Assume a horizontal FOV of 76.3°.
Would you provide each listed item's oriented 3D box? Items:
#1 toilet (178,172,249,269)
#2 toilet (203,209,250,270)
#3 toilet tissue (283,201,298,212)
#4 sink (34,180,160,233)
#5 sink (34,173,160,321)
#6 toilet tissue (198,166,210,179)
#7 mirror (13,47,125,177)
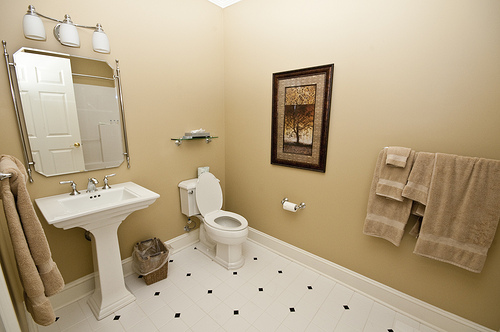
[{"bbox_3d":[-0.410,0.655,3.952,0.542,1.048,0.951,-16,23,-41],"label":"toilet"},{"bbox_3d":[-0.251,0.885,3.974,0.618,0.591,0.507,10,17,39],"label":"toilet"},{"bbox_3d":[0.489,0.488,3.766,0.090,0.056,0.152,-4,7,-39],"label":"toilet tissue"},{"bbox_3d":[-1.532,0.411,3.110,0.555,0.287,0.794,18,25,35],"label":"sink"},{"bbox_3d":[-1.569,0.835,3.181,0.760,1.420,1.072,13,19,37],"label":"sink"},{"bbox_3d":[-0.610,0.096,4.112,0.090,0.161,0.170,9,17,27],"label":"toilet tissue"},{"bbox_3d":[-1.832,-0.557,3.137,1.105,1.541,0.206,-12,24,-42],"label":"mirror"}]
